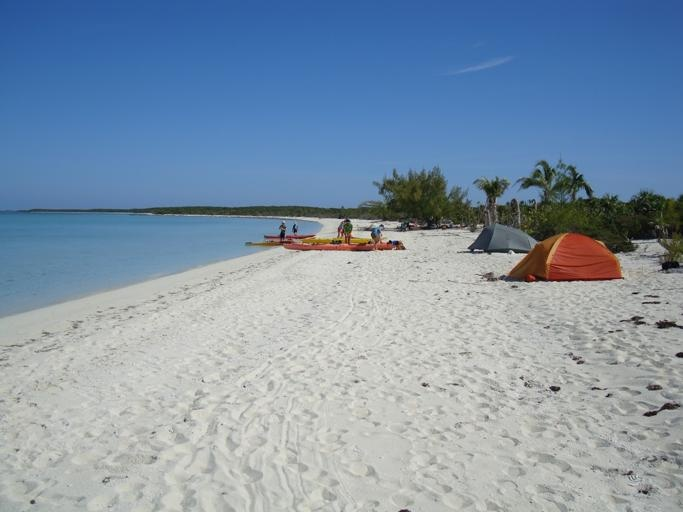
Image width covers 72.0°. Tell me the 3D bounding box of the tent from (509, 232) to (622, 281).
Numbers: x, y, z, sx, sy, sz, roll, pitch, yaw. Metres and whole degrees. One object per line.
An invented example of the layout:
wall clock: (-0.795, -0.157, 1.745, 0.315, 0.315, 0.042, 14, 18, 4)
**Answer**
tent: (6.397, -0.089, 13.516, 3.138, 0.993, 2.050, -3, 16, -8)

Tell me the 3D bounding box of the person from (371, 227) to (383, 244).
person: (1.771, -1.028, 23.764, 0.401, 0.927, 0.674, 1, 7, -3)
